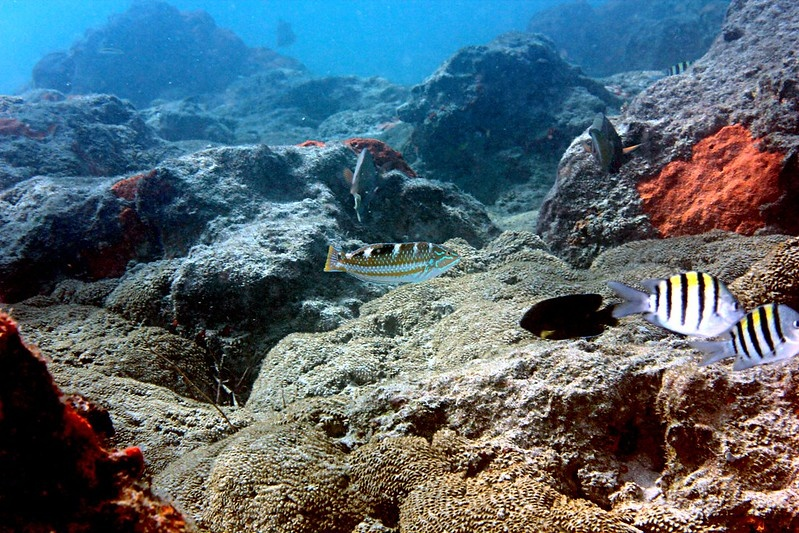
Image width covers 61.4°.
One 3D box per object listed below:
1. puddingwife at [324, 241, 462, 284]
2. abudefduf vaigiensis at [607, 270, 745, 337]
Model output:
[{"bbox_3d":[-0.077,-0.055,11.072,2.256,0.780,0.360,-3,22,-5],"label":"puddingwife"},{"bbox_3d":[4.166,0.573,9.939,1.840,0.983,0.400,1,10,10],"label":"abudefduf vaigiensis"}]
